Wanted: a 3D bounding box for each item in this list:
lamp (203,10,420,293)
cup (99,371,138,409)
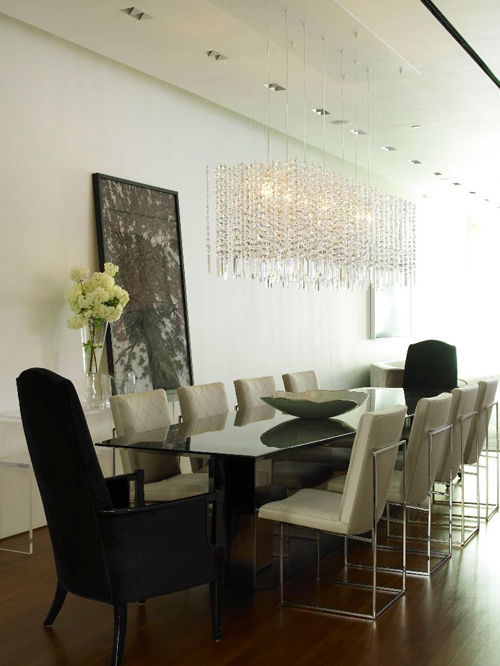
[{"bbox_3d":[0.458,-1.510,4.855,0.672,2.029,1.895,1,2,36],"label":"lamp"},{"bbox_3d":[-0.948,0.383,4.193,0.250,0.299,0.265,0,0,0],"label":"cup"}]
